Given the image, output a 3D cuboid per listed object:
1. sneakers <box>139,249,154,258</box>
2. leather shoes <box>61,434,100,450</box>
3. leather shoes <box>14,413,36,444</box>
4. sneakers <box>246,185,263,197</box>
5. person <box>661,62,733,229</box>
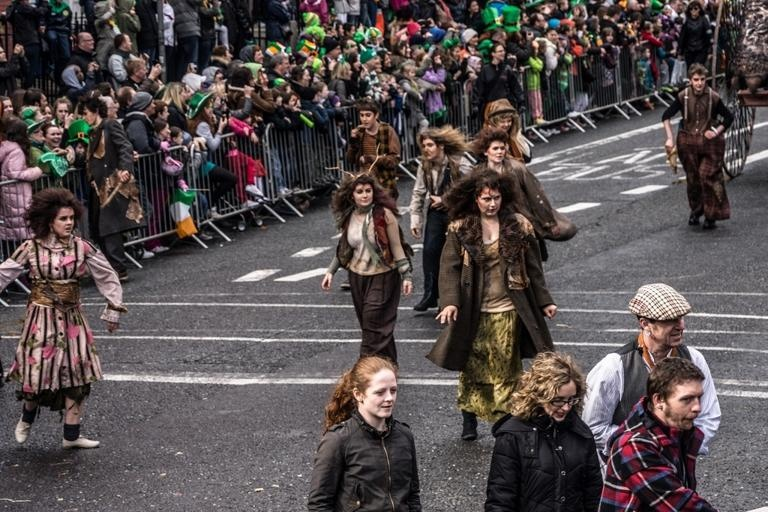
[{"bbox_3d":[-3.681,-0.034,18.147,0.158,0.136,0.249,-12,11,-2],"label":"sneakers"},{"bbox_3d":[-2.987,1.843,11.559,0.413,0.132,0.125,0,12,-6],"label":"leather shoes"},{"bbox_3d":[-3.575,1.698,11.578,0.151,0.358,0.159,14,2,-20],"label":"leather shoes"},{"bbox_3d":[-2.173,-1.065,19.539,0.318,0.122,0.114,27,-4,-21],"label":"sneakers"},{"bbox_3d":[4.804,-1.620,17.677,0.664,2.436,0.829,-19,13,-25],"label":"person"}]
